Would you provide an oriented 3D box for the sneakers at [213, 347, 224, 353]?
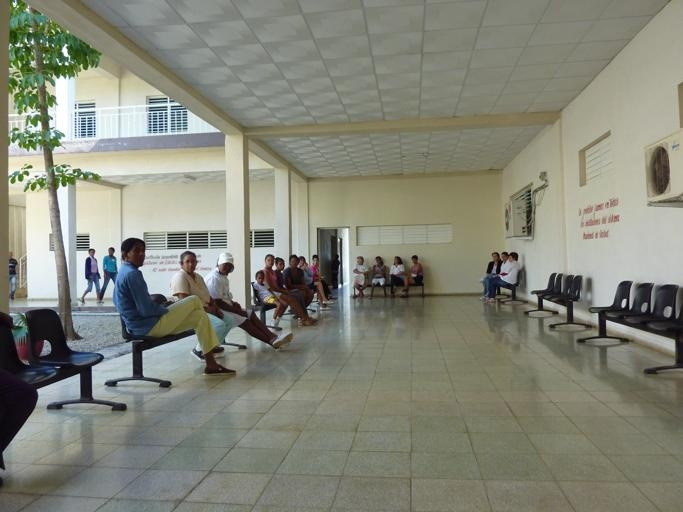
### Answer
[{"bbox_3d":[-1.623,1.244,6.324,0.157,0.103,0.052,11,-15,-38],"label":"sneakers"}]

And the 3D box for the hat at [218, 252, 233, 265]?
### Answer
[{"bbox_3d":[-1.515,0.034,6.288,0.164,0.161,0.209,4,-11,-27],"label":"hat"}]

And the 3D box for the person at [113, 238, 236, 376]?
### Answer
[{"bbox_3d":[-1.843,0.566,4.998,0.955,1.513,0.304,-5,6,-39],"label":"person"}]

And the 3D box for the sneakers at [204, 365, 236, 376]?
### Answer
[{"bbox_3d":[-1.343,1.252,5.266,0.339,0.121,0.133,1,-9,-3],"label":"sneakers"}]

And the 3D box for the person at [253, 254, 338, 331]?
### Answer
[{"bbox_3d":[-0.555,0.598,8.333,1.481,1.542,0.809,0,-1,9],"label":"person"}]

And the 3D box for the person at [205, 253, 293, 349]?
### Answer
[{"bbox_3d":[-1.249,0.567,6.278,1.227,1.194,0.525,9,8,19],"label":"person"}]

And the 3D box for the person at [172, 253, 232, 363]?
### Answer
[{"bbox_3d":[-1.665,0.588,5.745,0.730,1.280,0.574,0,7,15],"label":"person"}]

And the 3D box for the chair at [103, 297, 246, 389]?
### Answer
[{"bbox_3d":[-1.947,1.015,5.238,0.689,0.863,1.352,0,-4,3],"label":"chair"}]

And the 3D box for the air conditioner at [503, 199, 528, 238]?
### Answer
[{"bbox_3d":[4.402,-0.954,12.025,0.620,1.009,1.204,-1,-1,7],"label":"air conditioner"}]
